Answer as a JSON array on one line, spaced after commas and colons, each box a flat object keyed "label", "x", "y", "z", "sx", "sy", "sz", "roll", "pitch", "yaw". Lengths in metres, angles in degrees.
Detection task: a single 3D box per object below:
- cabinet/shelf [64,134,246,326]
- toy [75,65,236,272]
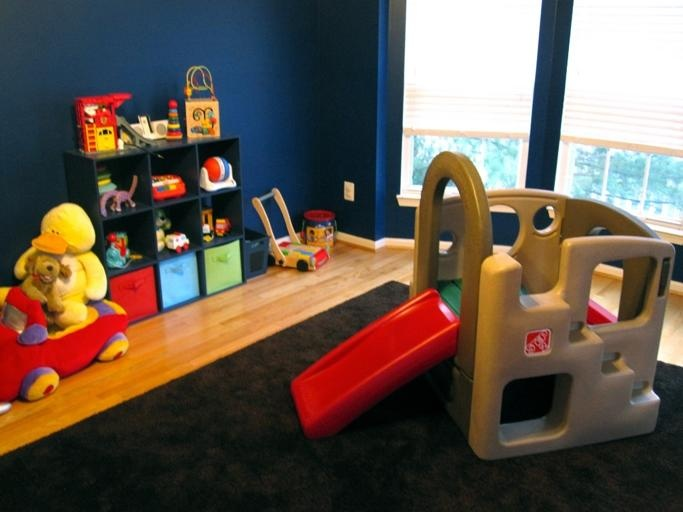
[{"label": "cabinet/shelf", "x": -1.045, "y": -0.175, "z": 3.199, "sx": 0.925, "sy": 0.947, "sz": 0.308, "roll": -18, "pitch": 29, "yaw": -42}, {"label": "toy", "x": -1.116, "y": -0.501, "z": 3.087, "sx": 0.297, "sy": 1.094, "sz": 0.929, "roll": 16, "pitch": 28, "yaw": 32}]
